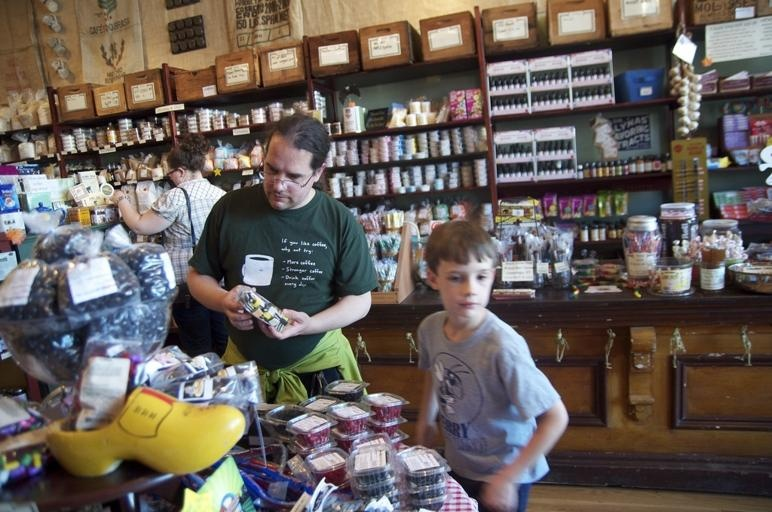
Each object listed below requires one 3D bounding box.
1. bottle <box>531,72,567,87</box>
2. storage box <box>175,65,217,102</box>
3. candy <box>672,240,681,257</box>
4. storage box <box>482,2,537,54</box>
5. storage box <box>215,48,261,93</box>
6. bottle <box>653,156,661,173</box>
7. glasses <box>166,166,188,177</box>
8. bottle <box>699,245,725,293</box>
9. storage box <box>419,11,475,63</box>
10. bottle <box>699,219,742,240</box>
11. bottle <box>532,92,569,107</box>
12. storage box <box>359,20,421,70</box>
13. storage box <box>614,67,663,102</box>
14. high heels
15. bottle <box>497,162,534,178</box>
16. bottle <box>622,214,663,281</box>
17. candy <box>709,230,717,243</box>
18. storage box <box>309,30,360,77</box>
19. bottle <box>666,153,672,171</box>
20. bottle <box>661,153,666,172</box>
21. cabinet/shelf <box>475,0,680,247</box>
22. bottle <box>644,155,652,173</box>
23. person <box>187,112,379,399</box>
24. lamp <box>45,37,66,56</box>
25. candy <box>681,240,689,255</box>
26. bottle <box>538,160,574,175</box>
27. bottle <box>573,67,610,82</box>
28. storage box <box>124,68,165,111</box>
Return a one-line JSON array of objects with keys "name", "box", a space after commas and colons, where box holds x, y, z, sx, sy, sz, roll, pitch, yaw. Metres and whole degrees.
[{"name": "bottle", "box": [1.306, -1.438, 4.695, 0.201, 0.061, 0.145, 4, 11, 28]}, {"name": "storage box", "box": [-1.746, -1.574, 5.335, 0.359, 0.198, 0.352, -5, 12, -14]}, {"name": "candy", "box": [1.618, -0.045, 3.257, 0.042, 0.084, 0.168, 1, 4, 26]}, {"name": "storage box", "box": [0.972, -1.828, 4.624, 0.429, 0.385, 0.311, -1, 12, 15]}, {"name": "storage box", "box": [-1.310, -1.621, 5.221, 0.415, 0.374, 0.291, 0, 6, 10]}, {"name": "bottle", "box": [2.184, -0.744, 4.713, 0.084, 0.118, 0.040, 0, 3, 7]}, {"name": "glasses", "box": [-1.485, -0.609, 4.149, 0.156, 0.044, 0.152, 1, 7, -5]}, {"name": "bottle", "box": [1.711, 0.063, 3.063, 0.114, 0.243, 0.091, 1, 4, 24]}, {"name": "storage box", "box": [0.377, -1.845, 4.891, 0.538, 0.348, 0.518, -19, 25, -22]}, {"name": "bottle", "box": [1.867, -0.156, 3.273, 0.168, 0.114, 0.170, -3, 7, 0]}, {"name": "bottle", "box": [1.324, -1.270, 4.723, 0.283, 0.129, 0.022, 0, 3, 10]}, {"name": "storage box", "box": [0.029, -1.721, 4.842, 0.437, 0.246, 0.423, 0, 14, 21]}, {"name": "storage box", "box": [2.026, -1.378, 4.707, 0.268, 0.205, 0.341, -1, 3, -4]}, {"name": "high heels", "box": [-0.670, 0.494, 1.631, 0.548, 0.209, 0.205, -8, 5, 3]}, {"name": "bottle", "box": [1.066, -0.724, 4.859, 0.202, 0.076, 0.142, -2, 1, 6]}, {"name": "bottle", "box": [1.412, -0.043, 3.239, 0.184, 0.352, 0.294, 1, 3, 21]}, {"name": "candy", "box": [1.764, -0.105, 3.150, 0.039, 0.057, 0.186, 2, 4, 29]}, {"name": "storage box", "box": [-0.435, -1.705, 4.924, 0.422, 0.239, 0.409, 4, 21, 21]}, {"name": "bottle", "box": [2.271, -0.764, 4.712, 0.056, 0.139, 0.135, 1, 4, 25]}, {"name": "bottle", "box": [2.249, -0.756, 4.724, 0.061, 0.143, 0.098, 1, 4, 24]}, {"name": "cabinet/shelf", "box": [1.527, -1.118, 4.605, 2.363, 2.064, 0.724, -1, 2, 4]}, {"name": "bottle", "box": [2.114, -0.746, 4.721, 0.073, 0.130, 0.037, 1, 3, 19]}, {"name": "person", "box": [-0.470, 0.015, 2.622, 0.643, 1.241, 0.565, -3, 4, -40]}, {"name": "lamp", "box": [-3.485, -2.230, 6.180, 0.199, 0.148, 0.059, 37, -13, -17]}, {"name": "candy", "box": [1.647, -0.050, 3.219, 0.030, 0.065, 0.067, 1, 4, 25]}, {"name": "bottle", "box": [1.390, -0.731, 4.809, 0.182, 0.082, 0.168, 1, -1, 0]}, {"name": "bottle", "box": [1.627, -1.469, 4.644, 0.306, 0.154, 0.060, 0, 3, 10]}, {"name": "storage box", "box": [-2.276, -1.551, 5.512, 0.413, 0.269, 0.387, -3, 6, -3]}]
